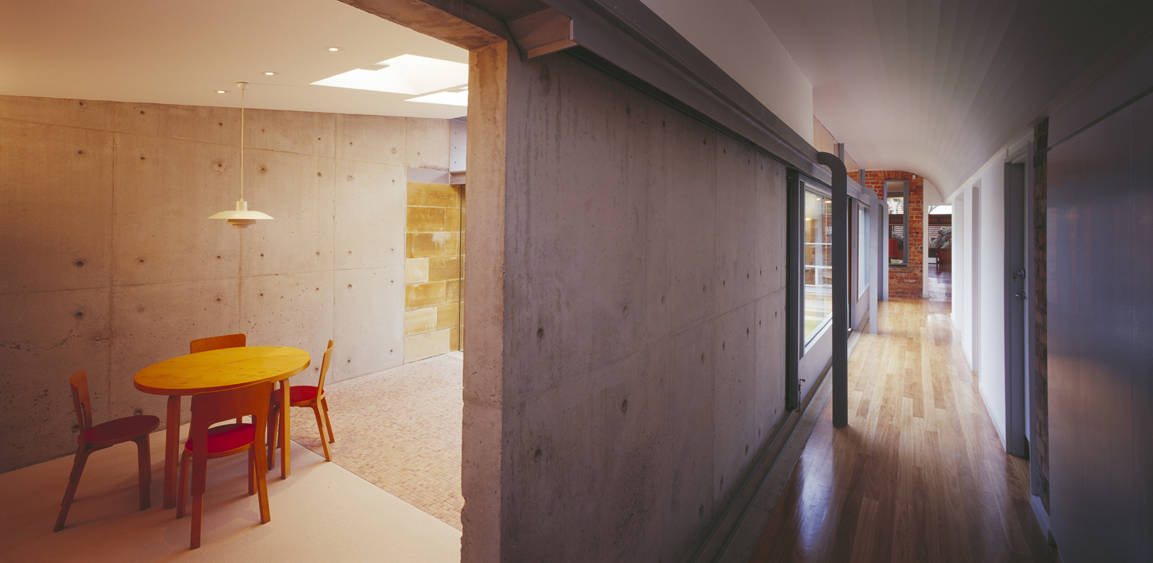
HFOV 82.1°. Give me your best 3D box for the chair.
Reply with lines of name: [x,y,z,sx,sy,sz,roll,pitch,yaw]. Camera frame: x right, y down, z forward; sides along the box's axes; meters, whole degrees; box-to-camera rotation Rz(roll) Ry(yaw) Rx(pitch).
chair: [-4.149,1.645,7.195,2.362,1.040,2.225,1,5,20]

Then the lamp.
lamp: [-3.908,-1.419,7.718,0.622,1.559,1.393,1,4,-26]
